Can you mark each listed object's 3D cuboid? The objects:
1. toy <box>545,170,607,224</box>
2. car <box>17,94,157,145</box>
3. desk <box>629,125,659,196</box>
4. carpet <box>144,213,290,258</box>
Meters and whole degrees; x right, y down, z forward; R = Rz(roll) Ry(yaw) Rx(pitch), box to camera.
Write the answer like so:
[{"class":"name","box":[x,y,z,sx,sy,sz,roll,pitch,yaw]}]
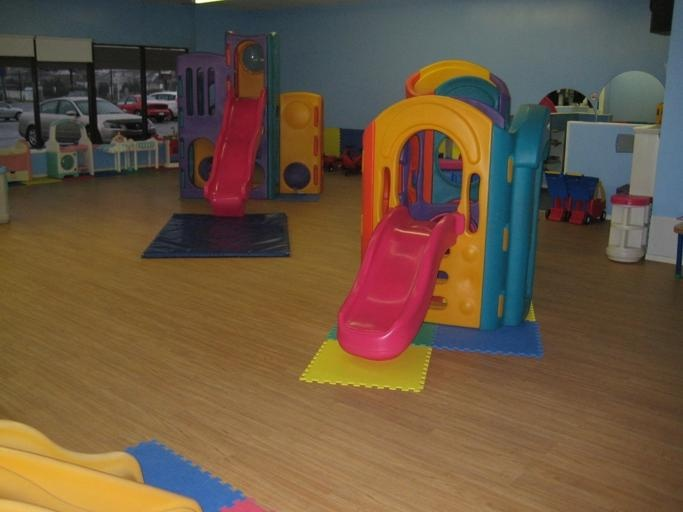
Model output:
[{"class":"toy","box":[3.376,-0.799,8.056,0.789,0.836,0.721,9,22,35]},{"class":"car","box":[-5.540,-2.884,11.812,2.103,0.819,0.990,-5,17,-12]},{"class":"desk","box":[3.707,-1.243,6.770,0.305,0.357,0.559,11,-16,23]},{"class":"carpet","box":[-1.510,-0.283,7.125,1.664,0.204,2.090,-2,13,-7]}]
